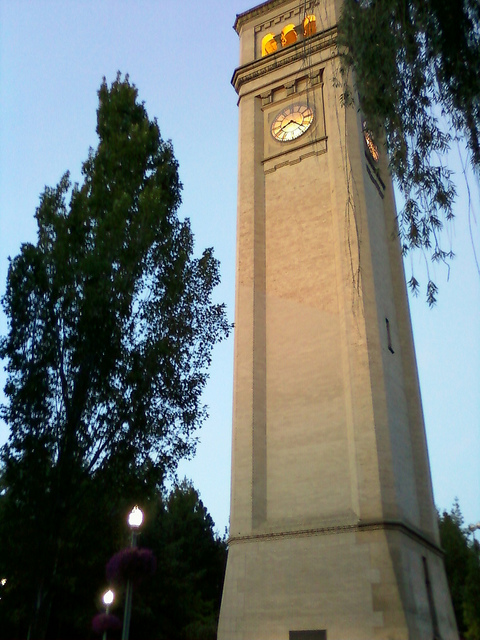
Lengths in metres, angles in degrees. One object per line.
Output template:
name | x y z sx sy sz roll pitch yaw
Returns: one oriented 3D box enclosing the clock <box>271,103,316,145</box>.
clock | 1.893 -6.808 17.792 1.185 1.967 0.157 -12 -30 30
